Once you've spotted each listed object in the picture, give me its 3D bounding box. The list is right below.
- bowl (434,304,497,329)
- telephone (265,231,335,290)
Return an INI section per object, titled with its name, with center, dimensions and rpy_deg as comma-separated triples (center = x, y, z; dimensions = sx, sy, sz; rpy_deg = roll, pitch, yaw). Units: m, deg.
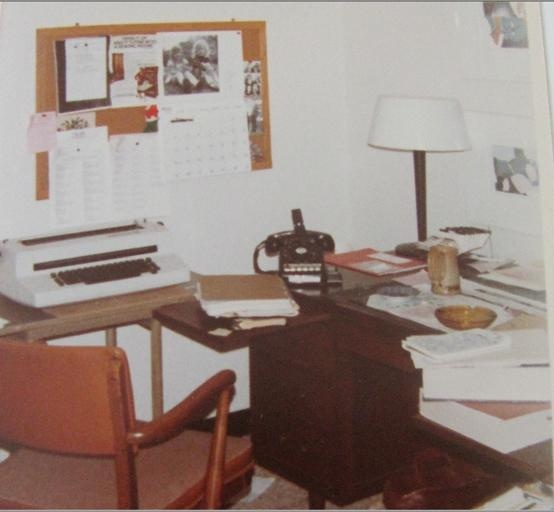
[bowl]
center = 0.595, 0.190, 1.811
dimensions = 0.222, 0.049, 0.137
rpy_deg = -6, 10, -20
[telephone]
center = 0.088, 0.011, 2.127
dimensions = 0.279, 0.117, 0.198
rpy_deg = -3, 46, -3
